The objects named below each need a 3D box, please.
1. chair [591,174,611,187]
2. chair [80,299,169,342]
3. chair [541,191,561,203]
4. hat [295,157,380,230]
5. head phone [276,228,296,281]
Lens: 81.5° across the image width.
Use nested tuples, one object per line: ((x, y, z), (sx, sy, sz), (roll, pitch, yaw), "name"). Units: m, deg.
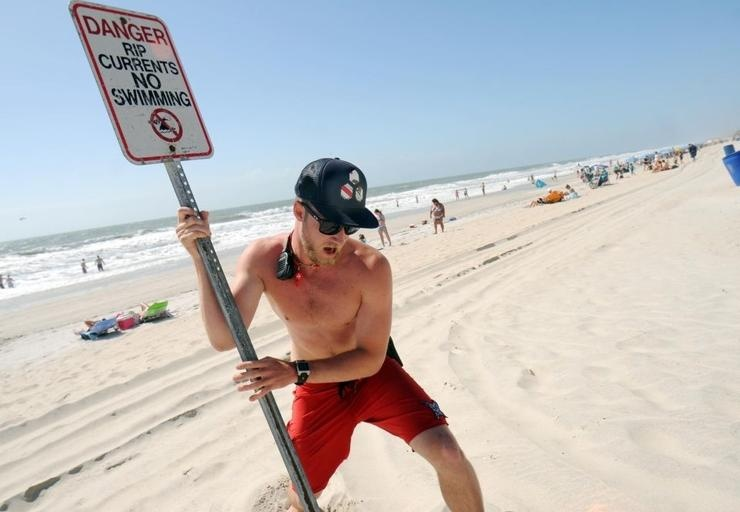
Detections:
((14.413, -4.698, 27.462), (0.905, 0.580, 1.093), (0, -14, -6), "chair")
((-6.008, 1.624, 10.634), (1.934, 0.664, 0.975), (-20, 14, -36), "chair")
((9.068, -2.899, 21.498), (0.909, 0.481, 1.333), (-12, 12, -1), "chair")
((-0.270, -0.490, 3.350), (0.754, 0.381, 0.536), (30, 23, 27), "hat")
((-0.709, 0.037, 3.570), (0.186, 0.291, 0.142), (11, -39, -27), "head phone")
